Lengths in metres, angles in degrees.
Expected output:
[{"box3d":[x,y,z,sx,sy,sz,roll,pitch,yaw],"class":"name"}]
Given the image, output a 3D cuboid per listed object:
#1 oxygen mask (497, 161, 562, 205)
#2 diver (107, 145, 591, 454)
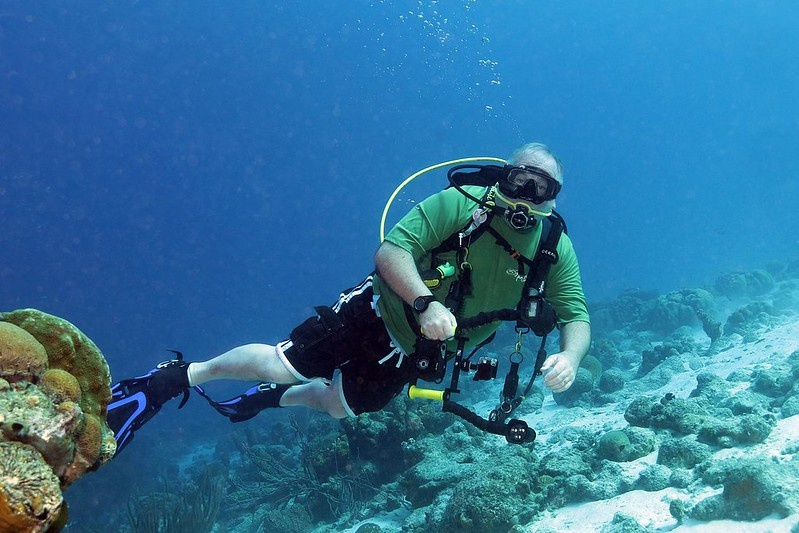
[{"box3d":[5.841,-3.761,32.982,1.796,0.958,2.227,19,0,1],"class":"oxygen mask"},{"box3d":[-2.380,3.092,35.730,24.694,10.457,11.006,-19,-28,26],"class":"diver"}]
